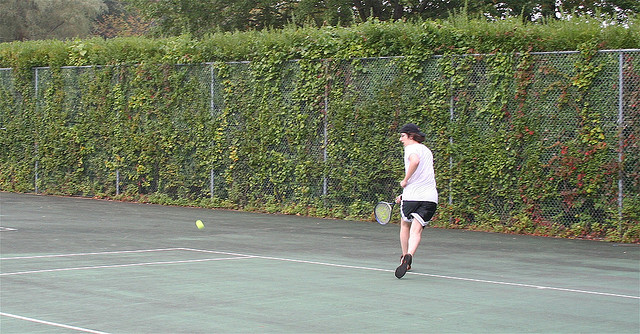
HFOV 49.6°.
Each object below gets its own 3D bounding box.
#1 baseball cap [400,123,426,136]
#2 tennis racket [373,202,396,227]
[{"bbox_3d":[2.098,-0.857,15.726,0.590,0.201,0.309,-1,2,3],"label":"baseball cap"},{"bbox_3d":[1.463,1.088,16.138,0.352,0.575,0.715,1,9,2],"label":"tennis racket"}]
